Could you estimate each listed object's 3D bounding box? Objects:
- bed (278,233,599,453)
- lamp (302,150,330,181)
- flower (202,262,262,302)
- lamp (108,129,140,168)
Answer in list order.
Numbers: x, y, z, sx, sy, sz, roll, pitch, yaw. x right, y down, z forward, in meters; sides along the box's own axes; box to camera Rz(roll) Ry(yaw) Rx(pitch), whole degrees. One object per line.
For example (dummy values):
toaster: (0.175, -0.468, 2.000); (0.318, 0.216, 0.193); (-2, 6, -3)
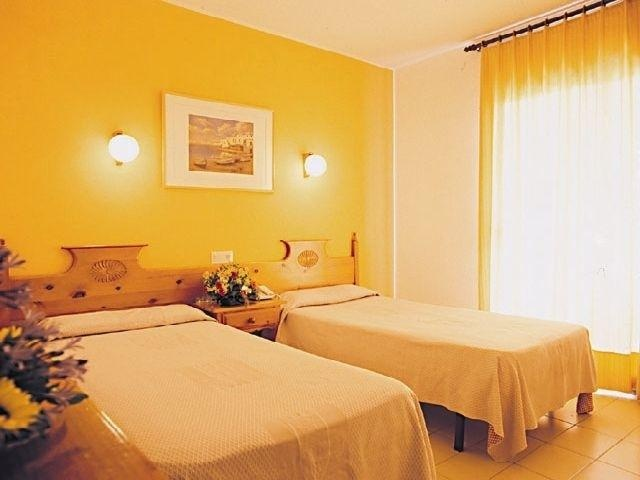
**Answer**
bed: (0.757, 0.595, 3.586); (1.171, 1.019, 1.817); (-1, 0, -43)
lamp: (-0.021, -0.761, 4.713); (0.150, 0.245, 0.331); (5, 9, 42)
flower: (-0.793, 0.333, 3.864); (0.337, 0.252, 0.331); (-2, 4, -44)
lamp: (-1.521, -0.724, 3.577); (0.228, 0.255, 0.156); (10, -5, -18)
